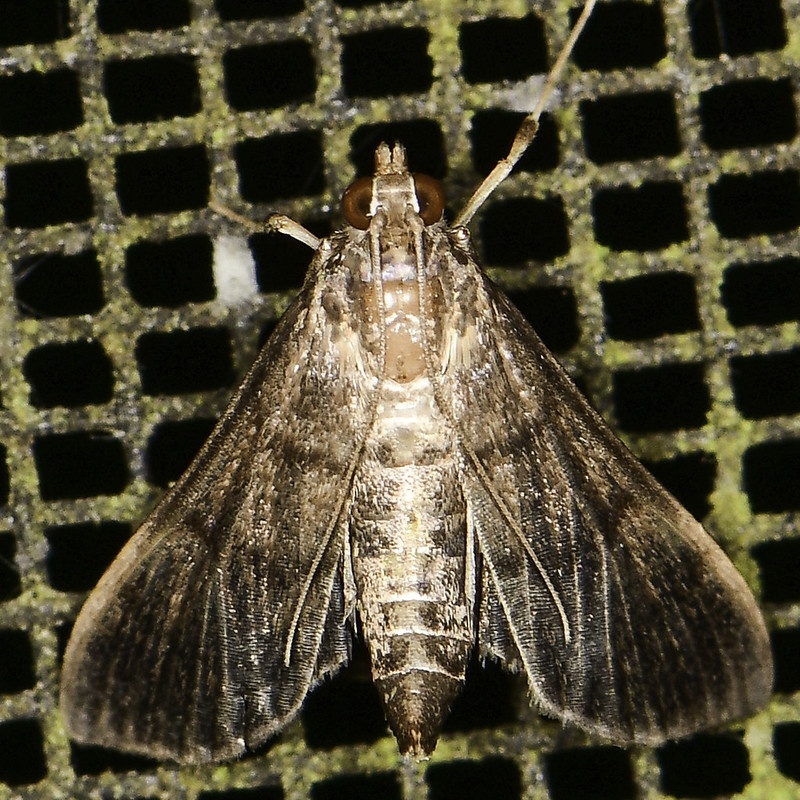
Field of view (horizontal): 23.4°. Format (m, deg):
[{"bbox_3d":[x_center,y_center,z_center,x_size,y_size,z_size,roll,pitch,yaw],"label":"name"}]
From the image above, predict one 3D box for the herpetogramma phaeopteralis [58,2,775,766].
[{"bbox_3d":[-0.017,0.159,2.999,1.063,0.137,0.907,-12,85,0],"label":"herpetogramma phaeopteralis"}]
